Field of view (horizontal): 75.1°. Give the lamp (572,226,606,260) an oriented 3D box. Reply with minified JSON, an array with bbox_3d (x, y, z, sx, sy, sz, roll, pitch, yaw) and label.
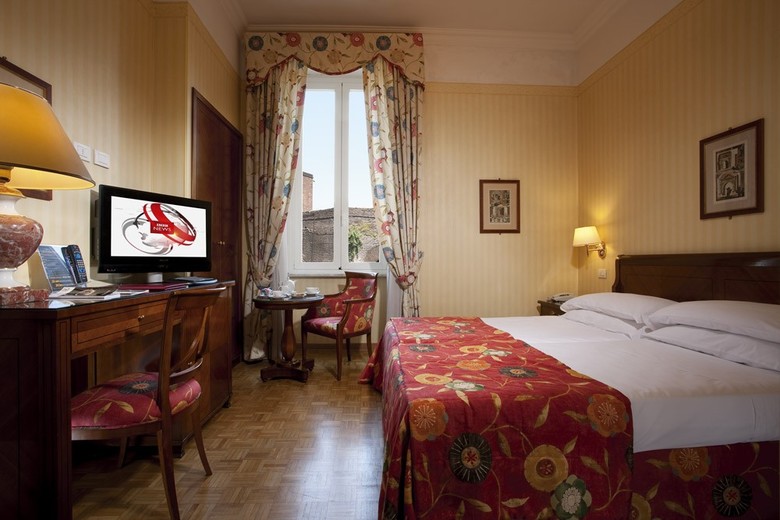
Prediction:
[{"bbox_3d":[2.113,-0.167,5.546,0.338,0.420,0.321,1,-5,-8],"label":"lamp"}]

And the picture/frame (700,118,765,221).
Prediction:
[{"bbox_3d":[2.777,-0.721,4.120,0.209,0.793,0.520,-14,16,-43],"label":"picture/frame"}]

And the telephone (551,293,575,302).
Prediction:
[{"bbox_3d":[1.862,0.406,5.440,0.146,0.065,0.152,-1,0,-20],"label":"telephone"}]

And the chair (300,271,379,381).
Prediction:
[{"bbox_3d":[-0.499,0.646,5.401,0.685,1.002,0.660,-2,4,-39],"label":"chair"}]

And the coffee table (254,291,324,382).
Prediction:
[{"bbox_3d":[-1.039,0.777,5.127,0.690,0.797,0.700,0,1,-34],"label":"coffee table"}]

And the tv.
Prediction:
[{"bbox_3d":[-1.877,-0.183,3.960,0.114,0.583,0.820,-1,-3,29],"label":"tv"}]
